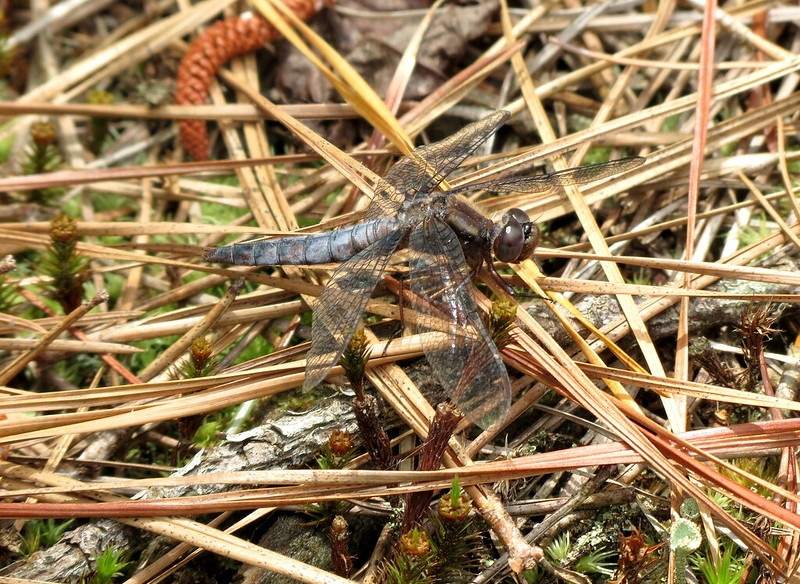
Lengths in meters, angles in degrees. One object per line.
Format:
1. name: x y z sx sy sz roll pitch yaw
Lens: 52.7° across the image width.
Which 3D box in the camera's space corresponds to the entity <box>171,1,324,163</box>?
1. entity: -1.061 -1.393 4.842 0.582 0.260 1.083 34 87 -16
